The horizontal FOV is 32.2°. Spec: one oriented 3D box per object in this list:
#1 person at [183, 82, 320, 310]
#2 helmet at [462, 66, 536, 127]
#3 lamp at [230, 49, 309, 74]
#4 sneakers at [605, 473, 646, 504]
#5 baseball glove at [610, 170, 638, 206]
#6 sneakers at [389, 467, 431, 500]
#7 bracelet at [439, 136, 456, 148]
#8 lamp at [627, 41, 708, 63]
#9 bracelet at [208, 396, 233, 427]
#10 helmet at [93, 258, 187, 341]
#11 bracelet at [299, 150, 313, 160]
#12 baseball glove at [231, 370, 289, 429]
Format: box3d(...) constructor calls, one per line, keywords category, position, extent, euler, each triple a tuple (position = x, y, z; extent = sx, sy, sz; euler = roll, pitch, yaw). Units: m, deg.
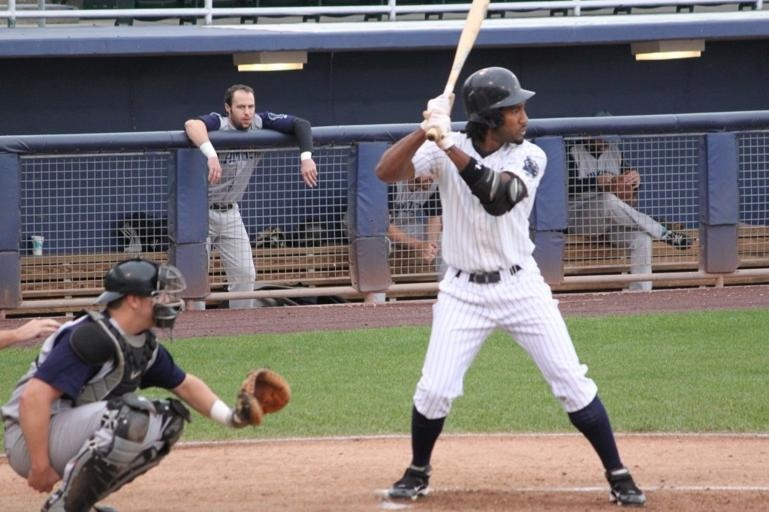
box3d(category="person", position=(-1.230, -0.523, 12.107), extent=(1.059, 2.012, 0.697), euler=(-2, 3, -9))
box3d(category="helmet", position=(0.851, -1.174, 9.783), extent=(0.485, 0.372, 0.399), euler=(-4, 11, 11))
box3d(category="lamp", position=(-1.181, -2.063, 14.166), extent=(0.785, 0.169, 0.564), euler=(-1, 2, -4))
box3d(category="sneakers", position=(1.735, 1.678, 9.591), extent=(0.287, 0.270, 0.182), euler=(1, 4, 5))
box3d(category="baseball glove", position=(2.284, -0.646, 12.748), extent=(0.258, 0.326, 0.094), euler=(23, -15, -32))
box3d(category="sneakers", position=(0.211, 1.658, 9.701), extent=(0.342, 0.159, 0.174), euler=(1, 2, -44))
box3d(category="bracelet", position=(0.460, -0.805, 9.485), extent=(0.080, 0.098, 0.082), euler=(32, -10, -20))
box3d(category="lamp", position=(3.080, -2.232, 14.421), extent=(0.738, 0.171, 0.376), euler=(-1, 3, 1))
box3d(category="bracelet", position=(-1.153, 1.119, 9.530), extent=(0.144, 0.183, 0.077), euler=(-10, -13, -5))
box3d(category="helmet", position=(-1.703, 0.307, 9.318), extent=(0.596, 0.494, 0.435), euler=(-5, 10, -16))
box3d(category="bracelet", position=(-0.686, -0.895, 11.904), extent=(0.086, 0.061, 0.084), euler=(-1, -3, 0))
box3d(category="baseball glove", position=(-0.887, 1.036, 9.546), extent=(0.450, 0.343, 0.215), euler=(-40, -3, -18))
